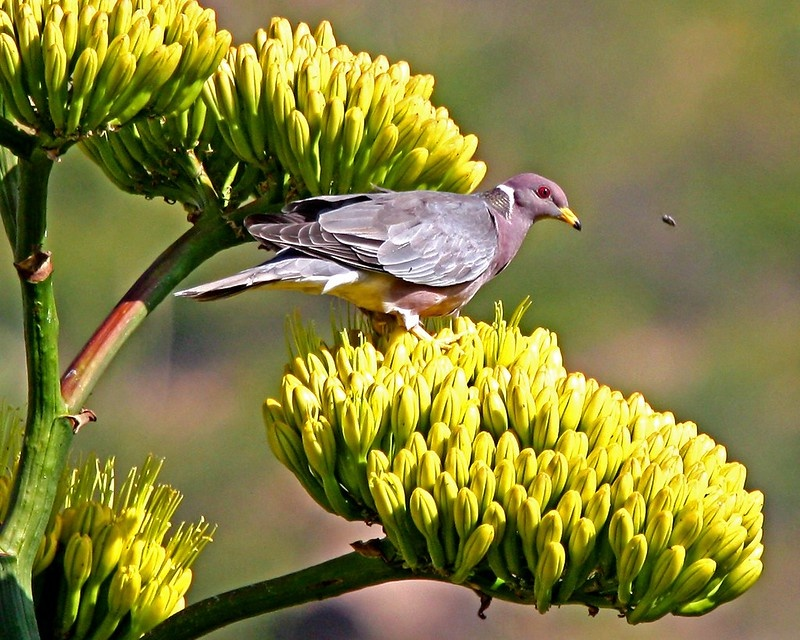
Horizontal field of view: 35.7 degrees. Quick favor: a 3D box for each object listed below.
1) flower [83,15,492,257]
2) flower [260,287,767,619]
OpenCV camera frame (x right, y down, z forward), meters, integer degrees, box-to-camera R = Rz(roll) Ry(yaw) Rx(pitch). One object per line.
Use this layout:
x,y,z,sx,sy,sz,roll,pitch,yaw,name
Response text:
-0.192,-0.550,3.293,0.918,0.417,0.718,15,4,-17,flower
0.222,0.315,2.693,0.949,0.512,0.751,18,0,-8,flower
